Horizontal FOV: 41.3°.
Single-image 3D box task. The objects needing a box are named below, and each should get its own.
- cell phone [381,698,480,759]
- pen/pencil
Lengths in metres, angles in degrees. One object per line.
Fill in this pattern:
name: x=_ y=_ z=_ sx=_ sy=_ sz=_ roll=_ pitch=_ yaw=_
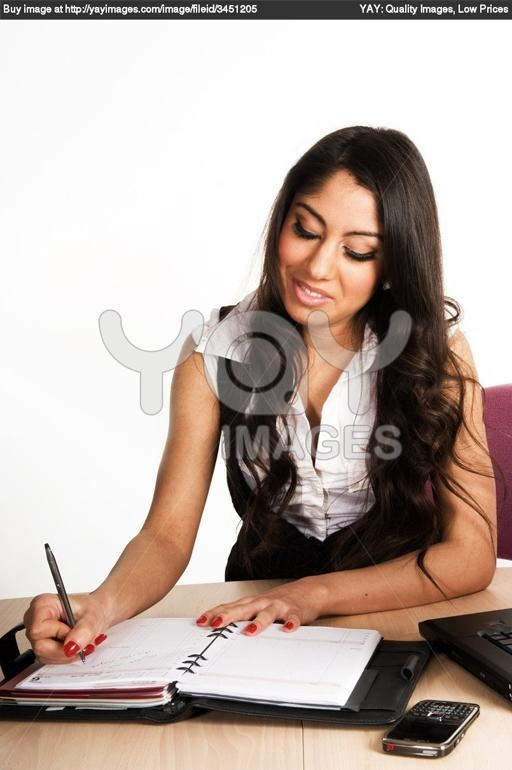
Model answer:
cell phone: x=0.134 y=0.262 z=0.520 sx=0.047 sy=0.018 sz=0.085 roll=4 pitch=11 yaw=36
pen/pencil: x=-0.192 y=0.219 z=0.678 sx=0.010 sy=0.121 sz=0.010 roll=-19 pitch=3 yaw=-4
